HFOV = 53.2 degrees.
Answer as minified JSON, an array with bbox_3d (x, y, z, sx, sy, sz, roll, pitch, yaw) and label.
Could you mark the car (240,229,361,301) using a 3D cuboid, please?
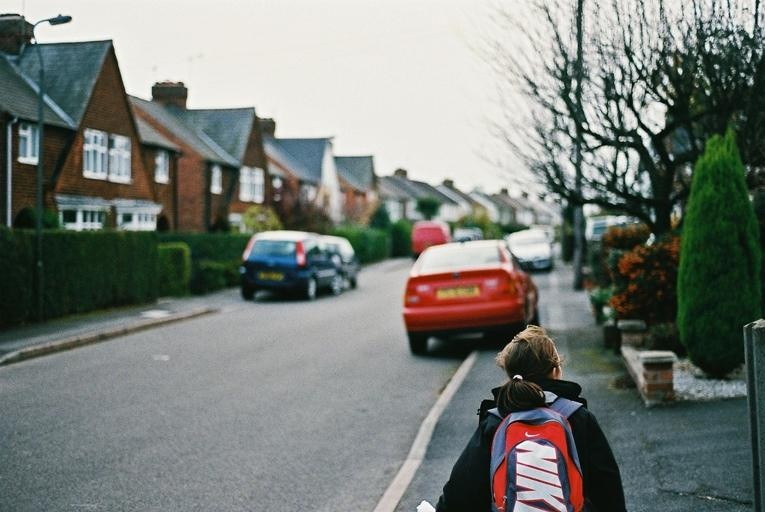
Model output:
[{"bbox_3d":[-2.537,0.228,23.708,1.724,1.403,3.542,0,2,16],"label":"car"}]
